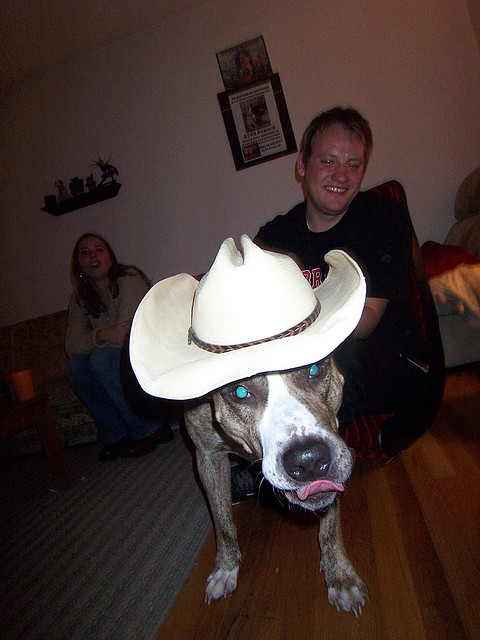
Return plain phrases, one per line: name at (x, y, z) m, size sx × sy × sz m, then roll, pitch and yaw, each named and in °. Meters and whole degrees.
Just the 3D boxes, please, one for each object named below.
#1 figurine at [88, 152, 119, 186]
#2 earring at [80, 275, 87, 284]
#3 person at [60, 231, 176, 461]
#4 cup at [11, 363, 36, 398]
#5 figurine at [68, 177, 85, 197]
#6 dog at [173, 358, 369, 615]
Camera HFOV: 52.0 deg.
figurine at (-1.126, -1.314, 4.097) m, size 0.196 × 0.287 × 0.279 m, roll 8°, pitch 30°, yaw -36°
earring at (-1.068, -0.280, 3.343) m, size 0.039 × 0.061 × 0.042 m, roll -18°, pitch 14°, yaw -22°
person at (-0.813, 0.120, 3.055) m, size 0.602 × 1.301 × 0.995 m, roll -15°, pitch 14°, yaw -11°
cup at (-1.061, 0.303, 2.438) m, size 0.066 × 0.095 × 0.160 m, roll -14°, pitch 13°, yaw -4°
figurine at (-1.409, -1.147, 4.206) m, size 0.118 × 0.164 × 0.047 m, roll -2°, pitch -3°, yaw 0°
dog at (0.082, 0.458, 1.488) m, size 0.631 × 0.664 × 0.488 m, roll -1°, pitch 18°, yaw 42°
